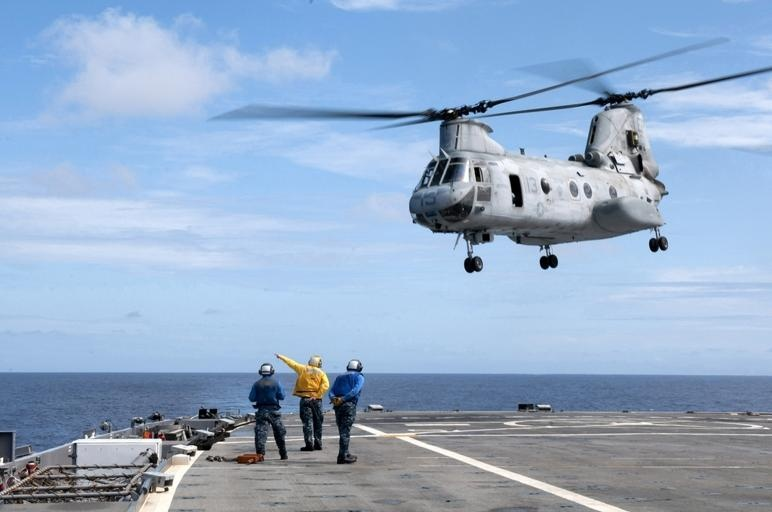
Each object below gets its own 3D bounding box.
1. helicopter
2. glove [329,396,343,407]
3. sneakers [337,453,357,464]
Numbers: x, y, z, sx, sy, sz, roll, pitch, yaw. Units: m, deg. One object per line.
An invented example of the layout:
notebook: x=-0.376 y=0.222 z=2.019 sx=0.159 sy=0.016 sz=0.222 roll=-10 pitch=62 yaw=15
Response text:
helicopter: x=8.001 y=-2.844 z=37.562 sx=13.418 sy=4.604 sz=13.223 roll=1 pitch=-3 yaw=-44
glove: x=-1.268 y=3.849 z=24.766 sx=0.299 sy=0.128 sz=0.296 roll=3 pitch=-18 yaw=0
sneakers: x=-0.987 y=5.220 z=24.093 sx=0.410 sy=0.133 sz=0.261 roll=0 pitch=1 yaw=-19
